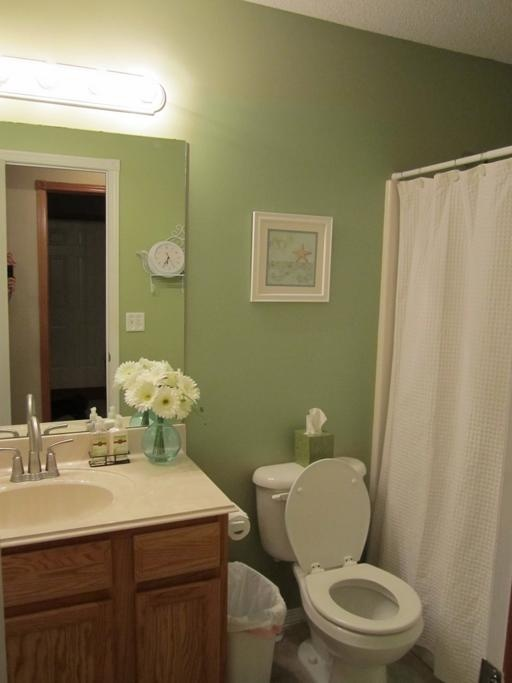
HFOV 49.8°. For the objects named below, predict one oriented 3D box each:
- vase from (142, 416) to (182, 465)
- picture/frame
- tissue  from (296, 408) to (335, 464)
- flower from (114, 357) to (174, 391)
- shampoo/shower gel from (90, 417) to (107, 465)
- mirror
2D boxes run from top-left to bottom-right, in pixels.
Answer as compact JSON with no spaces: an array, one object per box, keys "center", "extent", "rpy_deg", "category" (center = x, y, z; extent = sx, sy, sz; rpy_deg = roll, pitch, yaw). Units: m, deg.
[{"center":[-0.300,0.297,1.731],"extent":[0.110,0.166,0.110],"rpy_deg":[6,-11,-29],"category":"vase"},{"center":[0.121,-0.326,2.088],"extent":[0.342,0.347,0.026],"rpy_deg":[-1,6,-27],"category":"picture/frame"},{"center":[0.224,0.364,2.139],"extent":[0.124,0.213,0.125],"rpy_deg":[-4,10,-40],"category":"tissue "},{"center":[-0.366,0.090,1.707],"extent":[0.117,0.057,0.121],"rpy_deg":[15,25,18],"category":"flower"},{"center":[-0.491,0.310,1.727],"extent":[0.054,0.148,0.048],"rpy_deg":[-2,4,-21],"category":"shampoo/shower gel"},{"center":[-0.477,-0.276,1.746],"extent":[0.539,0.754,0.037],"rpy_deg":[-4,9,-22],"category":"mirror"}]
